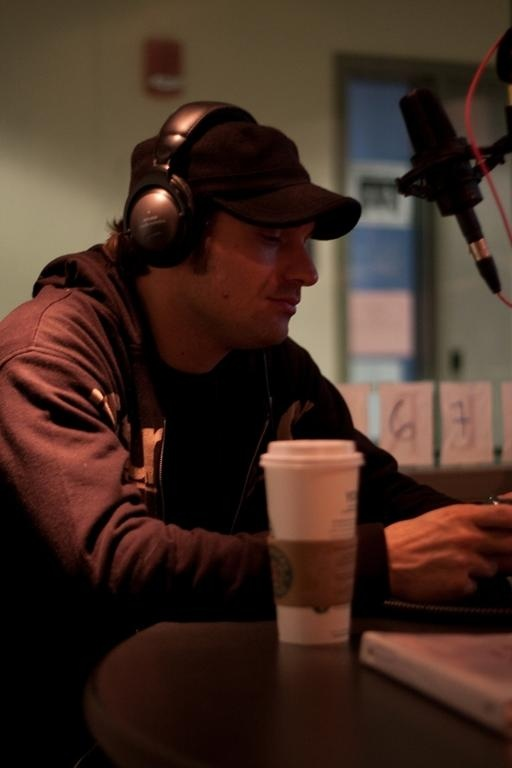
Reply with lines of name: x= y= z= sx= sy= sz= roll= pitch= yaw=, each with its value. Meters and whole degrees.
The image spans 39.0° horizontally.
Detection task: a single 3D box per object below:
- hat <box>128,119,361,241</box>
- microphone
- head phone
hat: x=-0.014 y=-0.301 z=1.067 sx=0.326 sy=0.156 sz=0.209 roll=6 pitch=7 yaw=28
microphone: x=0.258 y=-0.249 z=0.937 sx=0.144 sy=0.244 sz=0.157 roll=-7 pitch=1 yaw=12
head phone: x=-0.089 y=-0.281 z=1.044 sx=0.093 sy=0.219 sz=0.240 roll=0 pitch=4 yaw=26
